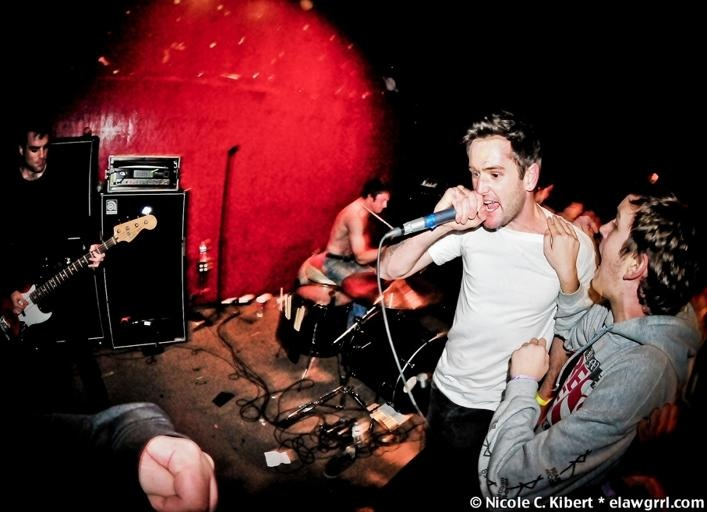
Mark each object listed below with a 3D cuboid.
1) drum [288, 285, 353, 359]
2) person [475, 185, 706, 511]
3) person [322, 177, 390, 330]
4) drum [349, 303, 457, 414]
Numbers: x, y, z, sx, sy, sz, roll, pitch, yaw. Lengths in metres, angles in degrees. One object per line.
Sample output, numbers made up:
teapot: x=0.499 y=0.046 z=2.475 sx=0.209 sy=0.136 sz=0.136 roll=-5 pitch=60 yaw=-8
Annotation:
drum: x=-0.376 y=0.583 z=5.048 sx=0.488 sy=0.505 sz=0.477 roll=13 pitch=22 yaw=2
person: x=1.306 y=0.544 z=2.885 sx=1.185 sy=1.769 sz=0.456 roll=0 pitch=5 yaw=8
person: x=0.133 y=0.079 z=5.715 sx=0.981 sy=1.826 sz=0.811 roll=3 pitch=13 yaw=9
drum: x=0.365 y=0.874 z=4.328 sx=0.863 sy=0.858 sz=0.623 roll=7 pitch=18 yaw=-38
